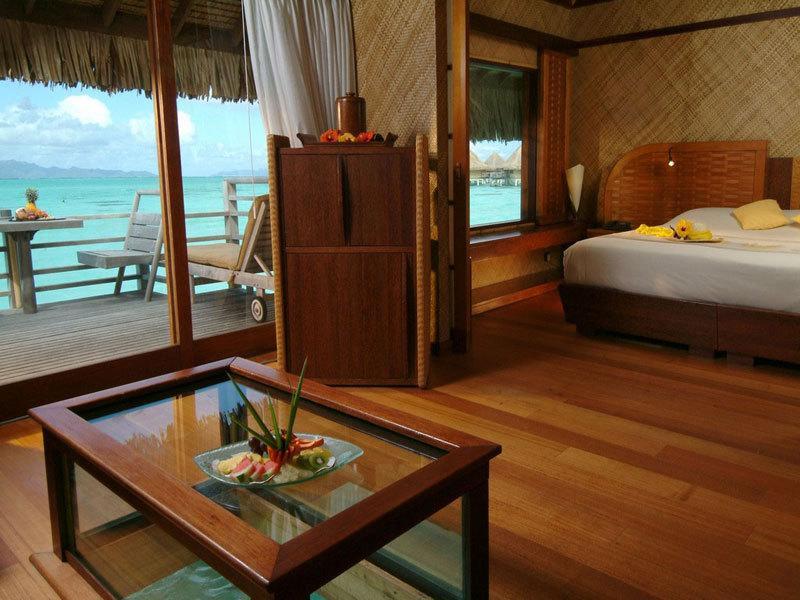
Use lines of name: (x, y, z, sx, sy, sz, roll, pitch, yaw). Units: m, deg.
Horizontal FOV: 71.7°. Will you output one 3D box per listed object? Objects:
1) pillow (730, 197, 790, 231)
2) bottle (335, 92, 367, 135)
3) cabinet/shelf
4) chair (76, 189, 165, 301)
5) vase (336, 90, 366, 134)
pillow: (3.034, -0.705, 4.646, 0.280, 0.126, 0.480, -16, 19, 13)
bottle: (-0.322, -1.233, 3.691, 0.194, 0.270, 0.256, -3, 14, -6)
cabinet/shelf: (-0.269, -0.253, 3.664, 0.936, 1.491, 0.648, 1, 14, 9)
chair: (-1.706, -0.338, 3.431, 0.450, 0.637, 0.518, 5, 12, 16)
vase: (-0.333, -1.264, 3.738, 0.226, 0.245, 0.222, -3, 23, -11)
